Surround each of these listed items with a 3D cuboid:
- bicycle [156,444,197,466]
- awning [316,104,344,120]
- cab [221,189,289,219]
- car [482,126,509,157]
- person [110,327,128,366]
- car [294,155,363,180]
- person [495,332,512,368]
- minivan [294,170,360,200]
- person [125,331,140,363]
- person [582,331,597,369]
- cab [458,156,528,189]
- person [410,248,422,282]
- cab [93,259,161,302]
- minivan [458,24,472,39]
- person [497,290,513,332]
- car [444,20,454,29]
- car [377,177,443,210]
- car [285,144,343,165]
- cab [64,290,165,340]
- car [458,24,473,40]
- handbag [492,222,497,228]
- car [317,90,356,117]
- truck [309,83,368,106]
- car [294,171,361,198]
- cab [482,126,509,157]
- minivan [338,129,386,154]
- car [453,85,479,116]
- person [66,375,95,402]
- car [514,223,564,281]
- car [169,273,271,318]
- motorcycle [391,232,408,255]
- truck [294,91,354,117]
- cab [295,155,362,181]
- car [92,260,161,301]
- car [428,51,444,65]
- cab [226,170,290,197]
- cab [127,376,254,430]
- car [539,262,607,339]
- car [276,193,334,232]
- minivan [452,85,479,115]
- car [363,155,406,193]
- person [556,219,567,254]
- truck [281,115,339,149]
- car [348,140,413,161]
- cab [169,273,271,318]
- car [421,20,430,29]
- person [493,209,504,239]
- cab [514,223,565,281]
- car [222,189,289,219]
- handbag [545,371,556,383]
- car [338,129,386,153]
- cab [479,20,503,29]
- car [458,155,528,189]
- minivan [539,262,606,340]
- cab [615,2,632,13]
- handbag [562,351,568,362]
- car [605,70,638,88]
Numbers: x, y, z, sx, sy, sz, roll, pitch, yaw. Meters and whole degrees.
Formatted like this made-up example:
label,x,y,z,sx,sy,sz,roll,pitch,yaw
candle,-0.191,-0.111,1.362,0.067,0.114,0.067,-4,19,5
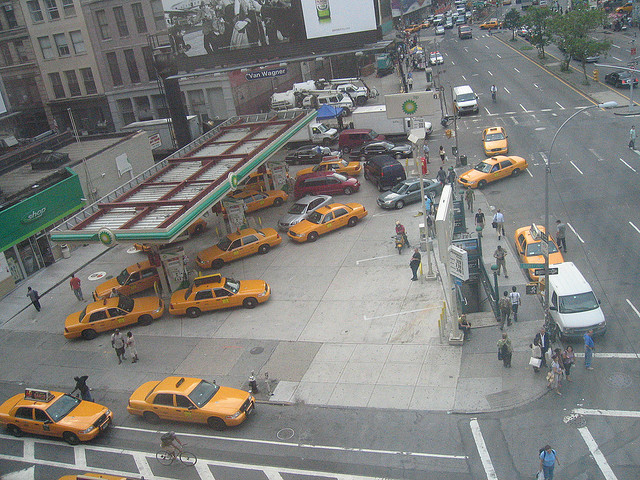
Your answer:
label,x,y,z,sx,sy,sz,roll,pitch,yaw
bicycle,-5.893,9.055,22.943,1.476,0.889,0.785,0,10,3
awning,0.634,-12.251,54.064,1.968,1.551,2.222,-6,21,13
cab,-4.950,-3.221,43.743,4.781,1.492,2.039,-18,35,-10
car,14.298,-7.837,45.536,1.815,1.734,3.101,-4,21,18
person,-10.516,5.519,28.856,0.618,1.665,0.933,-19,22,-20
car,0.767,-6.108,46.200,4.970,1.783,2.301,2,27,5
person,8.164,4.868,24.580,0.584,1.783,0.496,-8,20,9
minivan,0.390,-4.449,43.853,4.795,1.624,2.147,-4,34,4
person,-9.754,5.459,28.524,0.402,1.772,0.797,-20,22,-21
person,11.750,4.854,24.303,0.554,1.713,0.681,-11,36,19
cab,14.047,-5.119,42.261,2.037,1.610,4.847,-4,-10,-46
person,5.308,1.434,31.187,0.702,1.840,0.480,-23,23,-30
cab,-11.723,2.386,34.385,4.421,1.532,1.942,-25,44,-8
minivan,25.256,-36.177,97.375,2.177,2.031,3.786,-3,26,15
person,8.980,3.532,27.113,0.949,1.638,0.578,-26,25,-34
car,26.501,-44.193,115.107,1.550,1.320,2.751,-3,29,26
car,7.368,-3.146,40.590,5.225,1.678,2.121,-4,-18,36
car,-0.648,-7.411,51.118,4.732,1.450,2.136,-5,38,8
cab,-11.724,4.102,31.444,5.119,1.521,2.392,-16,37,-3
car,25.309,-36.290,97.415,2.373,2.021,3.977,-2,21,16
handbag,10.866,-0.957,34.743,0.293,0.296,0.297,-5,49,21
car,1.347,-15.044,61.832,4.882,2.500,2.866,-4,38,4
truck,2.861,-17.054,65.274,4.905,2.079,3.015,-1,30,9
car,0.446,-4.547,43.693,4.478,1.516,2.135,-4,36,5
cab,14.502,-8.383,46.543,1.888,1.450,4.546,-7,29,14
minivan,3.654,-9.186,50.562,3.856,1.765,2.034,-3,30,9
car,14.978,-14.595,57.869,2.103,1.916,4.478,-7,31,11
person,-11.401,7.126,26.352,0.860,1.385,0.501,0,67,2
car,12.348,0.499,31.487,2.080,1.614,5.029,-10,24,13
car,-5.836,2.955,31.973,5.470,1.968,2.475,-9,36,5
motorcycle,4.790,0.242,34.065,0.694,0.789,1.229,-4,41,24
truck,0.336,-14.615,62.162,5.662,2.729,3.817,-1,35,6
cab,0.814,-6.031,46.014,4.855,1.736,2.251,2,27,5
car,-11.648,2.870,34.694,4.418,1.435,1.974,-25,43,-6
car,15.879,-24.725,76.402,1.621,1.213,3.495,-1,30,14
cab,-5.129,-4.305,45.455,4.776,1.589,1.998,-8,21,-6
cab,-5.658,7.001,24.551,4.916,1.494,2.310,3,28,12
car,12.199,2.938,27.141,2.318,1.886,4.681,-12,25,6
car,-1.053,-2.160,40.254,2.092,1.582,4.868,11,34,44
minivan,14.997,-14.596,57.845,2.287,1.994,4.534,-8,31,9
car,5.169,-5.587,44.777,2.468,2.131,4.232,-14,30,-13
person,13.823,-0.292,31.922,0.581,1.909,1.258,-2,22,24
truck,-0.812,-10.652,54.177,6.088,3.127,3.030,-4,24,12
car,5.230,-7.694,47.830,4.351,1.259,2.153,0,33,15
cab,-5.869,3.099,32.048,5.464,1.954,2.477,-9,36,5
car,23.534,-48.213,124.994,1.750,1.279,7.382,-6,21,14
person,11.026,-1.044,34.499,0.535,1.933,1.077,-4,21,19
cab,12.376,0.507,31.465,2.154,1.559,5.068,-8,27,15
car,-4.753,-3.306,43.490,4.751,1.414,2.044,-18,33,-10
handbag,9.680,5.804,23.494,0.343,0.462,0.180,-37,-2,-8
car,3.646,-9.073,50.567,3.680,1.687,1.922,-3,32,10
cab,31.261,-39.567,102.452,3.363,1.070,1.789,6,27,17
car,13.890,-5.077,42.175,4.577,1.528,2.003,-18,-9,35
minivan,12.175,2.918,27.102,2.243,1.855,4.614,-9,27,10
cab,50.087,-38.113,91.690,1.413,1.295,3.492,-7,21,10
handbag,10.373,5.014,23.596,0.209,0.528,0.247,-3,22,22
car,30.671,-16.340,56.855,1.229,1.568,3.375,-10,20,2
